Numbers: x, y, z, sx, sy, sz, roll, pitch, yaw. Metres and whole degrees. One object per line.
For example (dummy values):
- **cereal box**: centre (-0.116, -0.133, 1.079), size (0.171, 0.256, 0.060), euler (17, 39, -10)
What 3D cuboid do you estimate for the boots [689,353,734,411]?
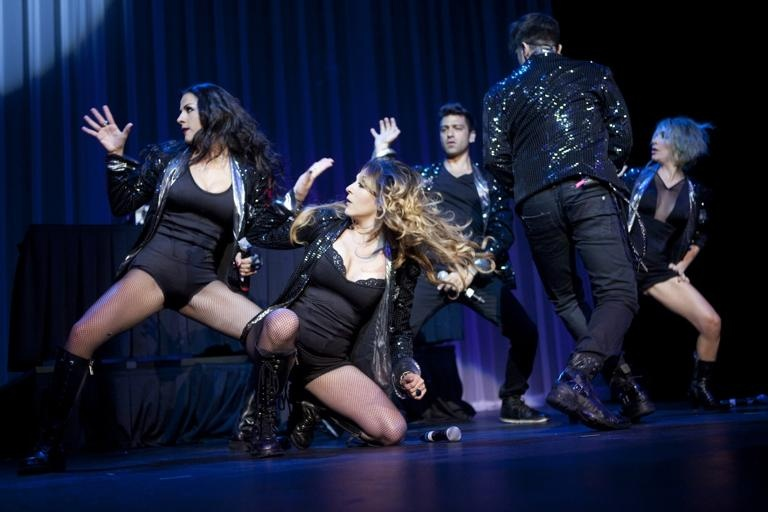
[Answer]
- **boots**: centre (1.942, 0.787, 4.305), size (0.120, 0.315, 0.311), euler (2, 7, -16)

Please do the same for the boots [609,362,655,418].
- **boots**: centre (1.308, 0.745, 3.975), size (0.148, 0.310, 0.433), euler (-18, -9, -8)

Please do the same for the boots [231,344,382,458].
- **boots**: centre (-0.400, 0.621, 3.499), size (0.522, 0.613, 0.571), euler (-5, -7, 44)

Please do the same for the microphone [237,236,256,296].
- **microphone**: centre (-0.719, 0.052, 3.717), size (0.075, 0.298, 0.084), euler (7, 14, 18)

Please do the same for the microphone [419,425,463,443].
- **microphone**: centre (0.275, 0.883, 3.566), size (0.209, 0.092, 0.234), euler (0, -4, 5)

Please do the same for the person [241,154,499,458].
- **person**: centre (-0.135, 0.283, 3.588), size (1.129, 1.581, 0.913), euler (11, -16, -12)

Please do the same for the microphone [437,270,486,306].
- **microphone**: centre (0.455, 0.178, 4.162), size (0.073, 0.245, 0.073), euler (-46, 4, 42)

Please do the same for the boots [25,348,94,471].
- **boots**: centre (-1.514, 0.711, 3.315), size (0.284, 0.554, 0.167), euler (2, -4, -25)

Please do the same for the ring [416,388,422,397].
- **ring**: centre (0.163, 0.664, 3.481), size (0.029, 0.036, 0.011), euler (1, -4, 1)

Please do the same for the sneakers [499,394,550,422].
- **sneakers**: centre (0.836, 0.953, 4.423), size (0.325, 0.173, 0.116), euler (-7, -6, 34)
